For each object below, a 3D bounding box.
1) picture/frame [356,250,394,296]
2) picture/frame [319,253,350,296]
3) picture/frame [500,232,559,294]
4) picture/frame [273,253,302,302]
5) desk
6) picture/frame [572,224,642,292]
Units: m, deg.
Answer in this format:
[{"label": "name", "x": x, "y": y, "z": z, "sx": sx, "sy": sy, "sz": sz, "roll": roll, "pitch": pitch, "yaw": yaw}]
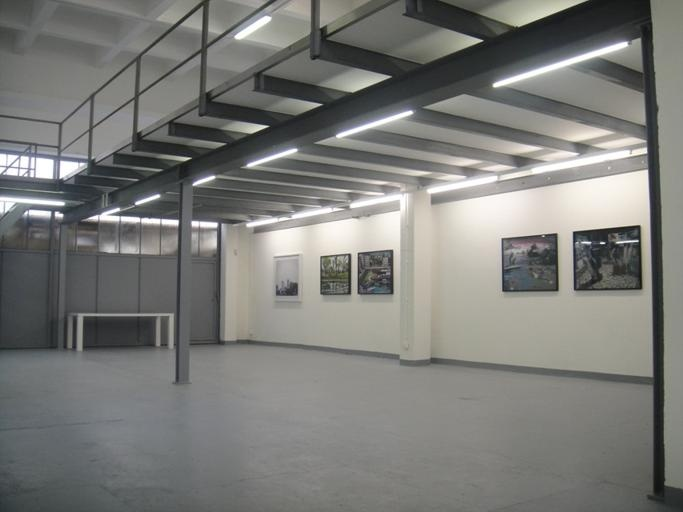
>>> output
[{"label": "picture/frame", "x": 0.948, "y": 0.449, "z": 12.559, "sx": 0.050, "sy": 1.262, "sz": 1.147, "roll": 6, "pitch": -6, "yaw": -40}, {"label": "picture/frame", "x": -0.131, "y": 0.520, "z": 13.616, "sx": 0.062, "sy": 1.267, "sz": 1.152, "roll": 4, "pitch": -5, "yaw": -38}, {"label": "picture/frame", "x": 3.916, "y": 0.145, "z": 9.751, "sx": 0.056, "sy": 1.314, "sz": 1.200, "roll": 10, "pitch": -9, "yaw": -42}, {"label": "picture/frame", "x": -1.659, "y": 0.675, "z": 15.167, "sx": 0.105, "sy": 1.629, "sz": 1.370, "roll": 6, "pitch": -10, "yaw": -43}, {"label": "desk", "x": -6.857, "y": 2.316, "z": 14.873, "sx": 2.985, "sy": 1.104, "sz": 1.566, "roll": 3, "pitch": -6, "yaw": -31}, {"label": "picture/frame", "x": 4.904, "y": 0.039, "z": 8.682, "sx": 0.053, "sy": 1.279, "sz": 1.166, "roll": 10, "pitch": -9, "yaw": -39}]
